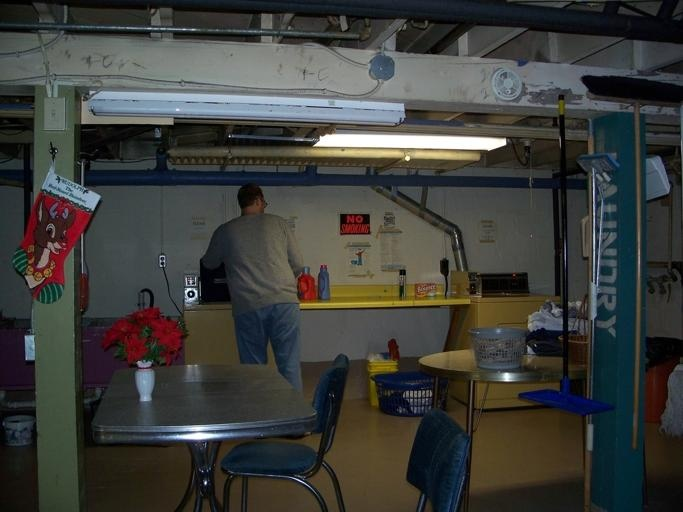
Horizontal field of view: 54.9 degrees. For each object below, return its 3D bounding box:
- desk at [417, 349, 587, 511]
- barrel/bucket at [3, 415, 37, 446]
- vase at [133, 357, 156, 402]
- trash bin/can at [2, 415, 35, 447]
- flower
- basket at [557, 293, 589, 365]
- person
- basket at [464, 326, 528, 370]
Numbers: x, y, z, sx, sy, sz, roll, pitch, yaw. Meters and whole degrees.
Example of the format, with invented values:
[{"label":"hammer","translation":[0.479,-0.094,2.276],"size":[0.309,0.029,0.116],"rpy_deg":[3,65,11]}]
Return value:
[{"label":"desk","translation":[1.037,1.054,4.503],"size":[1.099,0.902,1.124],"rpy_deg":[0,-2,-5]},{"label":"barrel/bucket","translation":[-2.875,1.546,5.920],"size":[0.232,0.206,0.260],"rpy_deg":[-1,-8,22]},{"label":"vase","translation":[-1.112,0.706,3.756],"size":[0.109,0.217,0.117],"rpy_deg":[-2,2,-7]},{"label":"trash bin/can","translation":[-2.880,1.551,5.853],"size":[0.243,0.204,0.242],"rpy_deg":[1,-5,0]},{"label":"flower","translation":[-1.164,0.438,3.944],"size":[0.361,0.300,0.381],"rpy_deg":[-2,9,-10]},{"label":"basket","translation":[1.729,0.519,4.703],"size":[0.218,0.530,0.216],"rpy_deg":[-1,-14,40]},{"label":"person","translation":[-0.737,0.314,5.550],"size":[0.660,2.052,0.617],"rpy_deg":[-5,21,-5]},{"label":"basket","translation":[1.089,0.614,4.509],"size":[0.392,0.275,0.405],"rpy_deg":[-5,2,-18]}]
